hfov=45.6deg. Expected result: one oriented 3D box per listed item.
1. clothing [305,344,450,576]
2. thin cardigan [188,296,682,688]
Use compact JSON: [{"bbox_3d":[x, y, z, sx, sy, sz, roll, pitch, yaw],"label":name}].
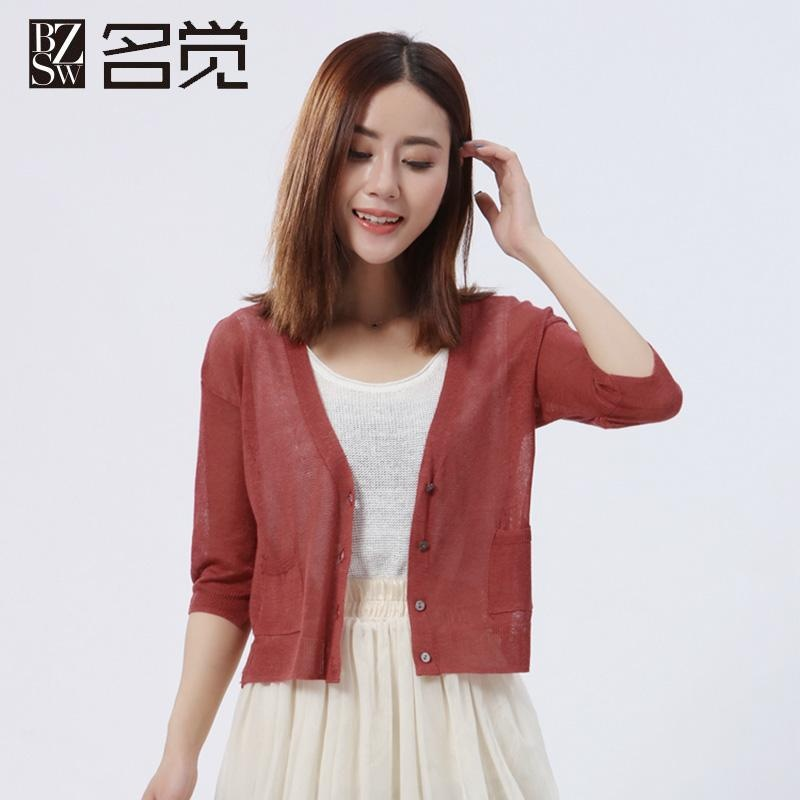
[{"bbox_3d":[-0.058,0.107,1.740,0.258,0.373,0.224,5,14,1],"label":"clothing"},{"bbox_3d":[-0.024,0.169,1.705,0.703,0.539,0.145,0,-19,-2],"label":"thin cardigan"}]
